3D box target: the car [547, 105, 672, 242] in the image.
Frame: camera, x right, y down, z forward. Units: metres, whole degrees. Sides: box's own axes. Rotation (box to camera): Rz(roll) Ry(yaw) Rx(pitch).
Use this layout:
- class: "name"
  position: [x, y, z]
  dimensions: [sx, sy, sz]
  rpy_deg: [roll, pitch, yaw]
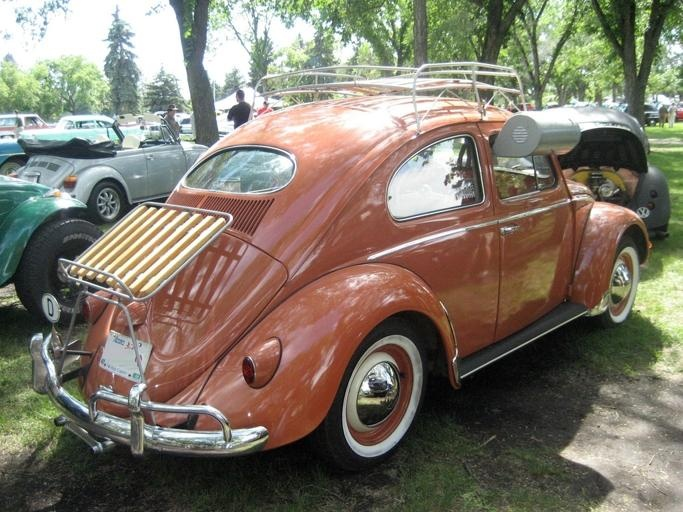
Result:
- class: "car"
  position: [3.677, -1.238, 7.601]
  dimensions: [2.573, 1.677, 1.575]
  rpy_deg: [-18, 23, -36]

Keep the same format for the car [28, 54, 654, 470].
- class: "car"
  position: [0.247, -0.123, 4.143]
  dimensions: [4.124, 2.421, 1.556]
  rpy_deg: [-22, 26, -32]
